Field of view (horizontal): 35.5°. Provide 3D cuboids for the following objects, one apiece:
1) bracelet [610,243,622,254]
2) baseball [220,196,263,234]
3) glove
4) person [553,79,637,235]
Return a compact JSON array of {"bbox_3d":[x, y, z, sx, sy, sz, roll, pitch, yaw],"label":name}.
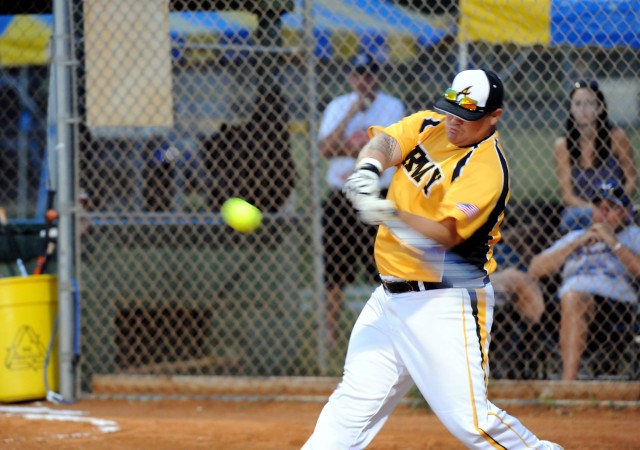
[{"bbox_3d":[2.237,0.179,7.537,0.060,0.046,0.060,-39,9,-10],"label":"bracelet"},{"bbox_3d":[-0.548,-0.063,6.643,0.270,0.215,0.201,35,17,7],"label":"baseball"},{"bbox_3d":[0.295,-0.209,6.080,0.305,0.390,0.301,4,6,-16],"label":"glove"},{"bbox_3d":[2.070,-0.567,7.515,0.500,1.256,0.451,6,12,11],"label":"person"}]
